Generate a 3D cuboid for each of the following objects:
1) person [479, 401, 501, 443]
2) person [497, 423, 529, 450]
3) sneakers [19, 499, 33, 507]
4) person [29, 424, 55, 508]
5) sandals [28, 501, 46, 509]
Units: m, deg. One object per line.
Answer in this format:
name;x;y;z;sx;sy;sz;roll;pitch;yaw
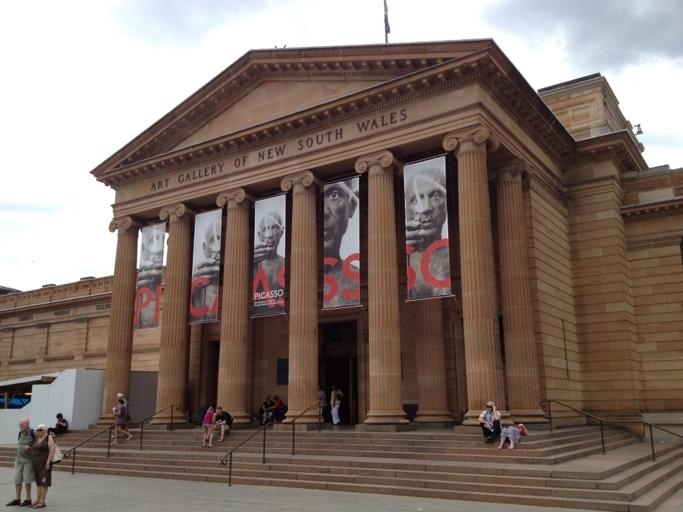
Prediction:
person;4.905;5.493;17.618;0.636;1.242;0.510;-9;-20;16
person;5.587;5.820;17.212;0.570;0.485;1.242;-12;-19;33
sneakers;-8.005;6.301;13.599;0.162;0.109;0.283;-10;-19;32
person;-7.849;5.480;14.012;0.536;2.008;1.274;8;-22;-28
sandals;-7.534;6.239;13.306;0.170;0.081;0.345;-4;-17;13
